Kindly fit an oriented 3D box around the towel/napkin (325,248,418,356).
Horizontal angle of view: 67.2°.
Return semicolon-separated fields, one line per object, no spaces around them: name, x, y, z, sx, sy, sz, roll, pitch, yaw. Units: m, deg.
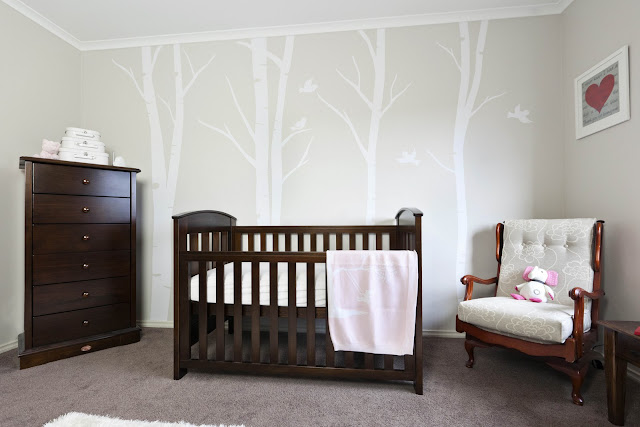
towel/napkin;0.405;0.661;3.629;0.761;0.860;0.124;1;3;5

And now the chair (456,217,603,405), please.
chair;1.711;0.698;3.958;0.935;1.343;0.815;3;-2;42

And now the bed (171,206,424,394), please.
bed;-0.088;0.665;4.305;1.993;1.414;1.310;0;0;5

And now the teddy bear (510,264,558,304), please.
teddy bear;1.779;0.586;3.986;0.227;0.311;0.317;14;-5;-42

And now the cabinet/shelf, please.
cabinet/shelf;-2.225;0.381;4.426;1.040;1.758;0.712;-1;13;-33
